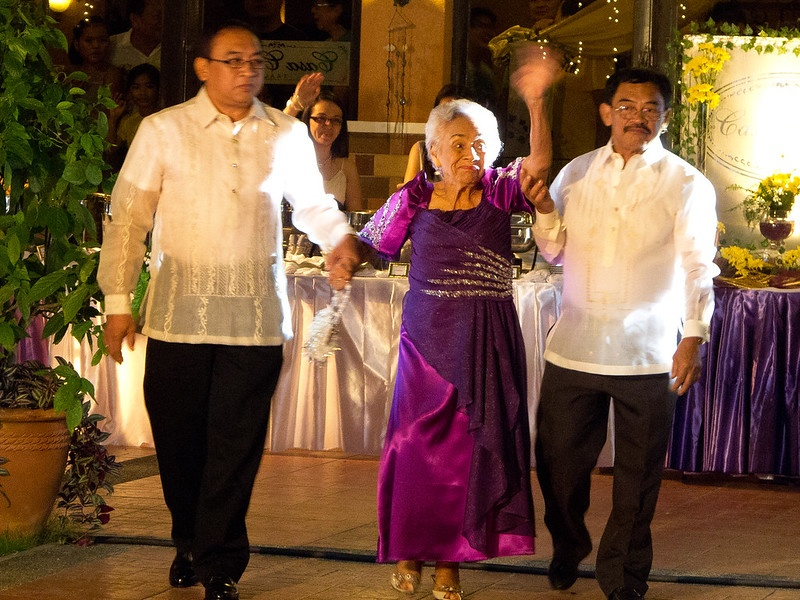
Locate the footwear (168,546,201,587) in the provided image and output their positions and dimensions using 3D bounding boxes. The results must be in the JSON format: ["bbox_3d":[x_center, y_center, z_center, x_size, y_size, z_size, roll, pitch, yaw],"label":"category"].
[{"bbox_3d":[-0.814,1.002,2.956,0.096,0.098,0.230,3,9,-5],"label":"footwear"}]

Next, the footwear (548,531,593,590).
[{"bbox_3d":[0.654,0.974,3.011,0.108,0.125,0.296,-8,29,40],"label":"footwear"}]

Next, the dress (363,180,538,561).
[{"bbox_3d":[0.198,0.303,2.871,0.580,1.359,0.274,-1,2,-2],"label":"dress"}]

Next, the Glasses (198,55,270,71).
[{"bbox_3d":[-0.591,-0.824,2.668,0.201,0.053,0.053,-1,2,-4],"label":"Glasses"}]

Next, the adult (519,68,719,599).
[{"bbox_3d":[0.815,0.143,2.827,0.659,1.969,0.347,0,2,18],"label":"adult"}]

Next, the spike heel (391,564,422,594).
[{"bbox_3d":[0.022,1.059,2.920,0.068,0.056,0.145,1,-4,1],"label":"spike heel"}]

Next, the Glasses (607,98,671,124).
[{"bbox_3d":[0.854,-0.671,2.745,0.181,0.072,0.071,0,2,7],"label":"Glasses"}]

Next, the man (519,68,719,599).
[{"bbox_3d":[0.815,0.143,2.827,0.659,1.969,0.347,0,2,18],"label":"man"}]
